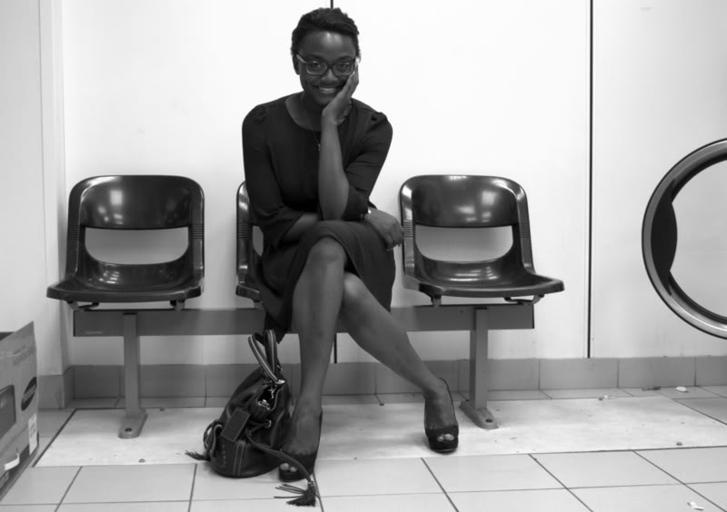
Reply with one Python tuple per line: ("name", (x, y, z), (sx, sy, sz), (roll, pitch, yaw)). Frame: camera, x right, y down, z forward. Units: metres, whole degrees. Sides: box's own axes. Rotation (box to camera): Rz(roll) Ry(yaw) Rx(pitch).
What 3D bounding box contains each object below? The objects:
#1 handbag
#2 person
("handbag", (-0.377, 0.571, 2.267), (0.461, 0.465, 0.635), (7, 9, -15))
("person", (-0.063, -0.091, 2.353), (0.684, 1.631, 0.608), (-4, 11, -21))
